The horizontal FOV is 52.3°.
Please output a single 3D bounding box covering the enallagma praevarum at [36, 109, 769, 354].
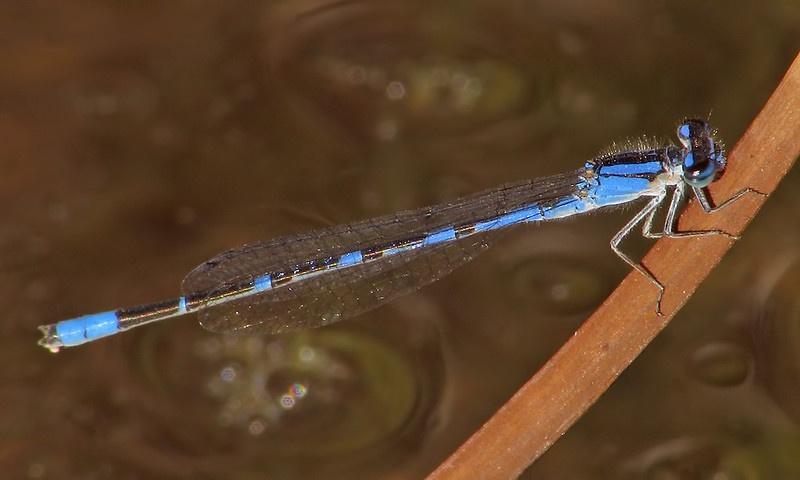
[{"bbox_3d":[0.175,0.106,7.356,6.547,0.820,2.043,-16,29,-6],"label":"enallagma praevarum"}]
